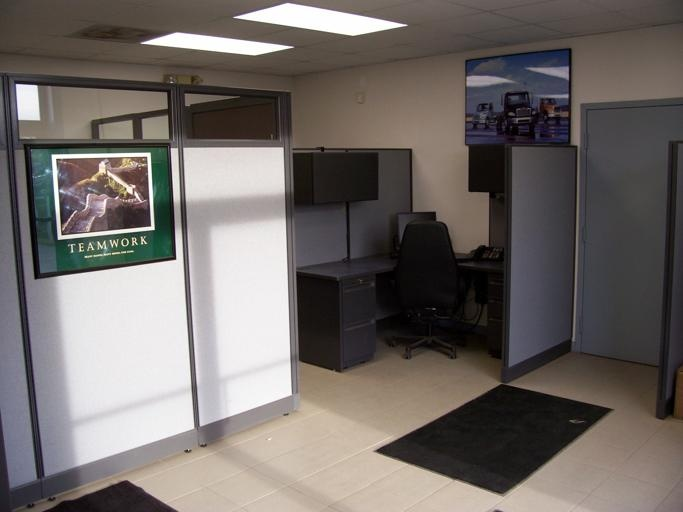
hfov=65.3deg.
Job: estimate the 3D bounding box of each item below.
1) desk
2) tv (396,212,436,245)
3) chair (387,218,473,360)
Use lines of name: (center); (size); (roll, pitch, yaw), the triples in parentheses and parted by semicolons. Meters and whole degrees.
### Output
desk: (0.283, 0.487, 5.274); (1.168, 0.831, 1.715); (3, 8, 28)
tv: (0.746, -0.267, 5.362); (0.335, 0.310, 0.104); (-9, 17, -34)
chair: (0.874, 0.299, 5.491); (0.708, 1.412, 0.833); (0, 12, 5)
